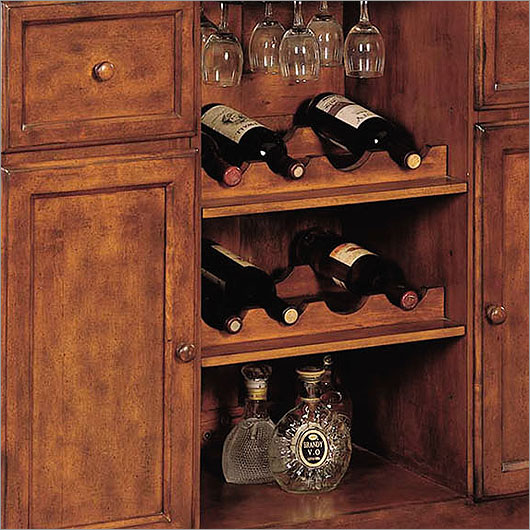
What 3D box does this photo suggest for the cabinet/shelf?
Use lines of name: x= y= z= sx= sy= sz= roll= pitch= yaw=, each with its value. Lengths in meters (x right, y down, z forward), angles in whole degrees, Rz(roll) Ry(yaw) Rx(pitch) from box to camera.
cabinet/shelf: x=0.019 y=-0.001 z=1.343 sx=1.071 sy=0.988 sz=0.360 roll=-4 pitch=7 yaw=-20

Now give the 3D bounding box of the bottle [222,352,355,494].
bottle: x=0.043 y=0.359 z=1.566 sx=0.336 sy=0.322 sz=0.143 roll=-1 pitch=2 yaw=-10

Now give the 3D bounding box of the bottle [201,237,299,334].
bottle: x=-0.040 y=0.046 z=1.503 sx=0.100 sy=0.108 sz=0.371 roll=13 pitch=8 yaw=-30
